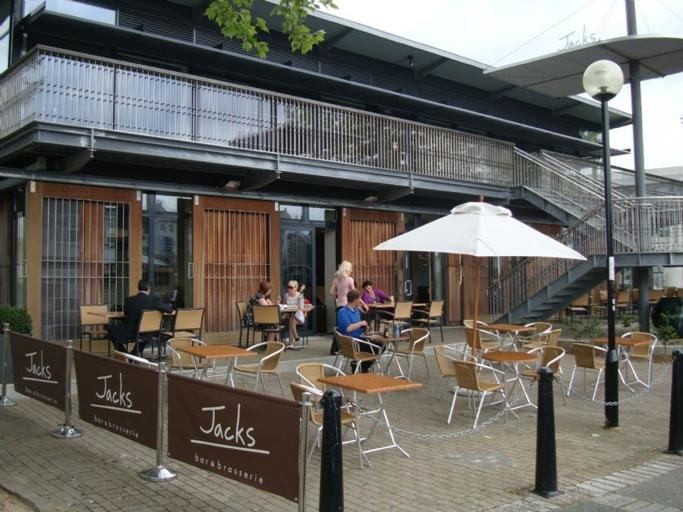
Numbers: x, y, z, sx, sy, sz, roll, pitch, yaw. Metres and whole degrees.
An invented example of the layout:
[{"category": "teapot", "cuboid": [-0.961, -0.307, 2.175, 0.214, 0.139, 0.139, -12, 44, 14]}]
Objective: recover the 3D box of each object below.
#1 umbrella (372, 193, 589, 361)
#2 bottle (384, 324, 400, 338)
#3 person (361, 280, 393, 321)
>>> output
[{"category": "umbrella", "cuboid": [2.333, 0.418, 12.595, 2.746, 2.107, 2.730, 2, -2, 3]}, {"category": "bottle", "cuboid": [1.051, 1.533, 15.192, 0.403, 0.209, 0.225, 2, -1, 7]}, {"category": "person", "cuboid": [0.801, 0.990, 17.377, 0.752, 0.840, 1.125, -3, -4, 41]}]
